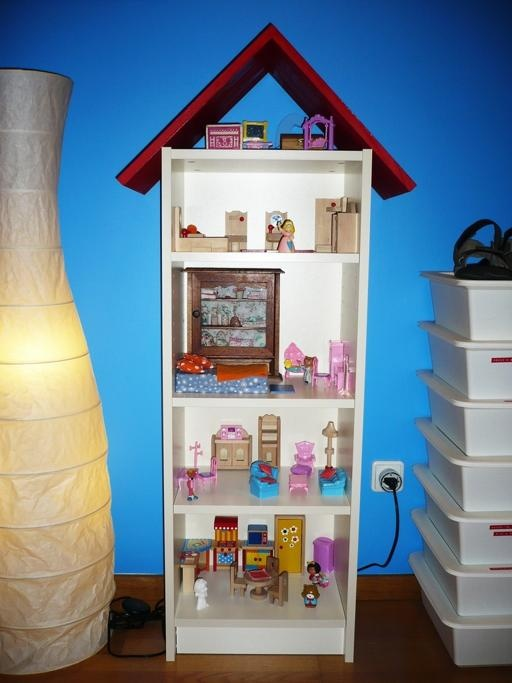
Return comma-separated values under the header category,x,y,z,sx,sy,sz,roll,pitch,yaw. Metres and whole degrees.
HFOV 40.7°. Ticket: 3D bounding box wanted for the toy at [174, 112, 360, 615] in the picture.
category,x,y,z,sx,sy,sz,roll,pitch,yaw
toy,0.017,0.134,2.075,0.570,1.544,0.423,0,11,0
